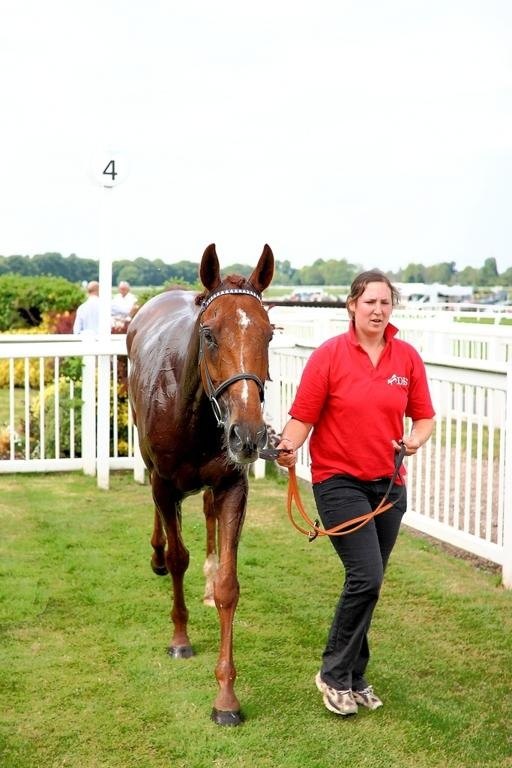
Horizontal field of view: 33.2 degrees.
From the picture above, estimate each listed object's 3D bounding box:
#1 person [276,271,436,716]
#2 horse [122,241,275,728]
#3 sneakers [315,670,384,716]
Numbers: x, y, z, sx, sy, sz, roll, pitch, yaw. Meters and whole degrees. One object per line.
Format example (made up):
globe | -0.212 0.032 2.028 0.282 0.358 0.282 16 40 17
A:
person | 0.386 0.416 3.341 0.569 1.738 0.522 2 7 11
horse | -0.286 0.409 4.228 0.566 2.044 2.631 0 2 -11
sneakers | 0.350 1.197 3.290 0.146 0.074 0.205 3 7 -32
